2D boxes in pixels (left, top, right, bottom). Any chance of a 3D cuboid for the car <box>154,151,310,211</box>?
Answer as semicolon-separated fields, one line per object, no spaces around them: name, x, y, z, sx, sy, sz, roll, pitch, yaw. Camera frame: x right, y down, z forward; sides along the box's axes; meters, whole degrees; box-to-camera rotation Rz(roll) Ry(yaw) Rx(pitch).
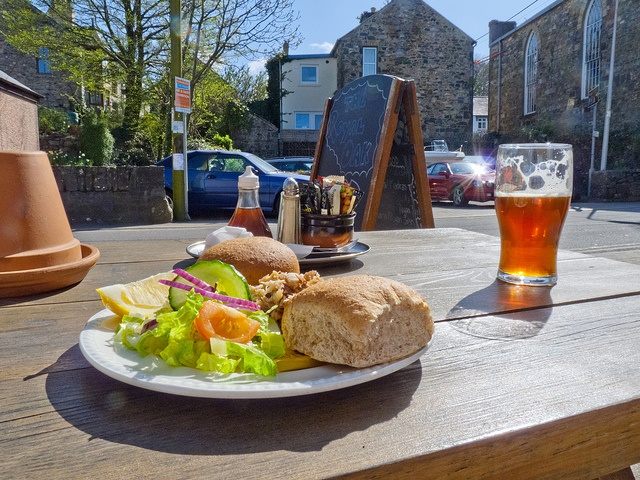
car;-1.842;-1.248;9.489;3.259;1.299;1.551;-3;7;-3

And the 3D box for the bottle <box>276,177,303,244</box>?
bottle;-0.092;-0.093;1.551;0.063;0.198;0.096;0;5;-3

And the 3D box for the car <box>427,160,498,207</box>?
car;3.863;-1.719;13.965;1.538;1.241;3.552;-7;10;-22

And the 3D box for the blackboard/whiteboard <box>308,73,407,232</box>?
blackboard/whiteboard;0.280;-0.629;3.659;0.413;1.180;1.094;-3;13;-23

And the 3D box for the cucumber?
cucumber;-0.174;0.062;0.783;0.115;0.076;0.083;-3;2;-32

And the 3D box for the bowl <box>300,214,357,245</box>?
bowl;0.024;-0.041;1.584;0.161;0.102;0.118;-3;3;-31

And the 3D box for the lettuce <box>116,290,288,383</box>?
lettuce;-0.168;0.109;0.731;0.205;0.128;0.155;-4;3;-34

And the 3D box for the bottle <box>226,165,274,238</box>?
bottle;-0.203;-0.118;1.443;0.099;0.221;0.126;0;9;1

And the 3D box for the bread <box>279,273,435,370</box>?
bread;0.068;0.128;0.847;0.192;0.135;0.246;-1;-3;38

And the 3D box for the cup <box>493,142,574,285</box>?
cup;0.547;-0.073;1.262;0.178;0.349;0.182;-2;12;0
